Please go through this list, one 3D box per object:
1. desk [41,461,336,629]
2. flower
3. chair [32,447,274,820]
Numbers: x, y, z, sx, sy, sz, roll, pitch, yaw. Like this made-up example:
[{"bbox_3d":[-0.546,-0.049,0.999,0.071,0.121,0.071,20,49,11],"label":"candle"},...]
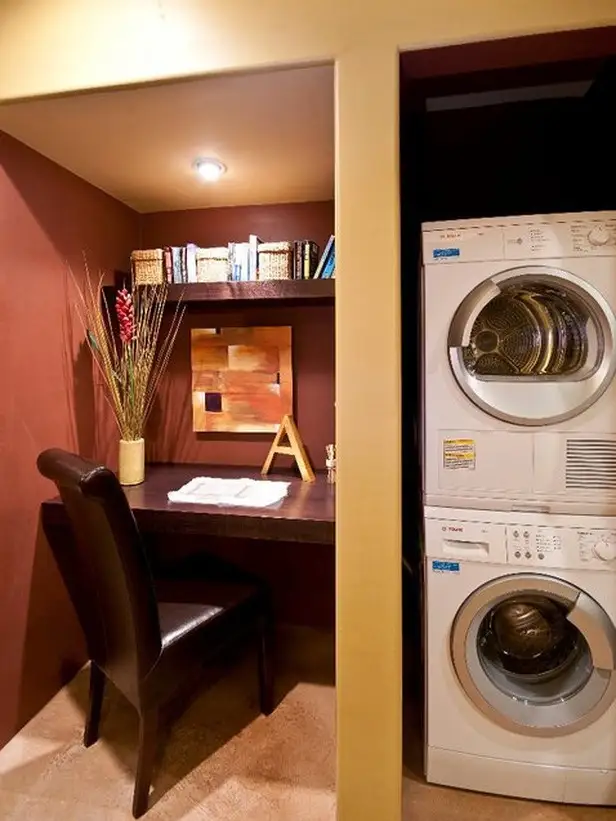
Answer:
[{"bbox_3d":[-0.419,0.495,2.473,0.739,0.474,0.398,4,13,8],"label":"desk"},{"bbox_3d":[-0.750,-0.224,2.903,0.396,0.815,0.555,0,13,-2],"label":"flower"},{"bbox_3d":[-0.471,0.636,2.268,0.627,1.072,0.514,-9,16,-39],"label":"chair"}]
